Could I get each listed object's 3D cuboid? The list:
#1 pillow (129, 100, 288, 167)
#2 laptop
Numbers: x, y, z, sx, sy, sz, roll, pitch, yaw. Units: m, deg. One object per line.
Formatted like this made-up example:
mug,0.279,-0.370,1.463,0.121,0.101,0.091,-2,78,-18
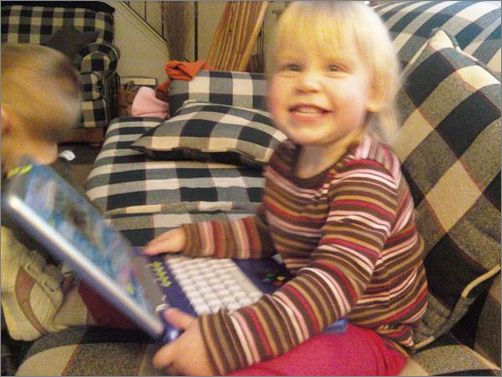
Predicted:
pillow,-0.142,-0.236,1.869,0.419,0.110,0.386,12,22,25
laptop,-0.106,0.103,0.830,0.570,0.221,0.389,-7,15,-18
